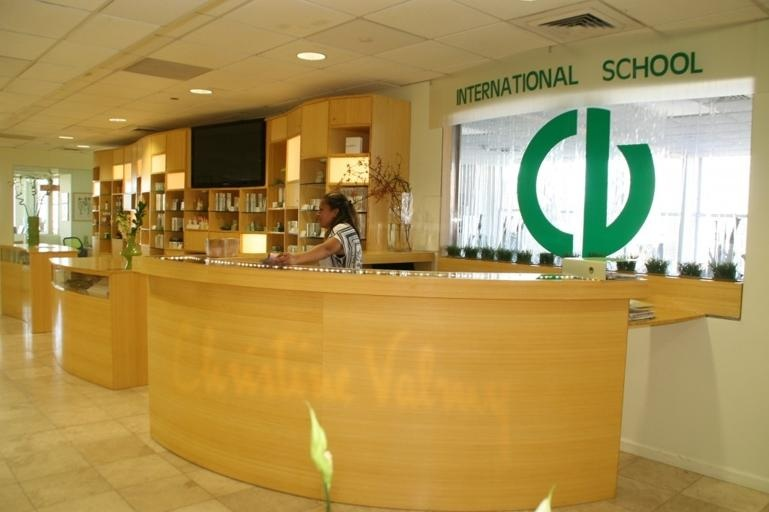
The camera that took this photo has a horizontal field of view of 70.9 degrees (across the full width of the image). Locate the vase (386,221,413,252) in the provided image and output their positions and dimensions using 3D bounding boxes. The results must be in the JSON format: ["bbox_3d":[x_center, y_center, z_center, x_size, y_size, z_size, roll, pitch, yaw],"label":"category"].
[{"bbox_3d":[0.180,-0.266,7.362,0.345,0.394,0.353,-1,-2,42],"label":"vase"}]

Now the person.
[{"bbox_3d":[-0.567,-0.231,5.251,0.631,0.734,0.975,4,8,9],"label":"person"}]
